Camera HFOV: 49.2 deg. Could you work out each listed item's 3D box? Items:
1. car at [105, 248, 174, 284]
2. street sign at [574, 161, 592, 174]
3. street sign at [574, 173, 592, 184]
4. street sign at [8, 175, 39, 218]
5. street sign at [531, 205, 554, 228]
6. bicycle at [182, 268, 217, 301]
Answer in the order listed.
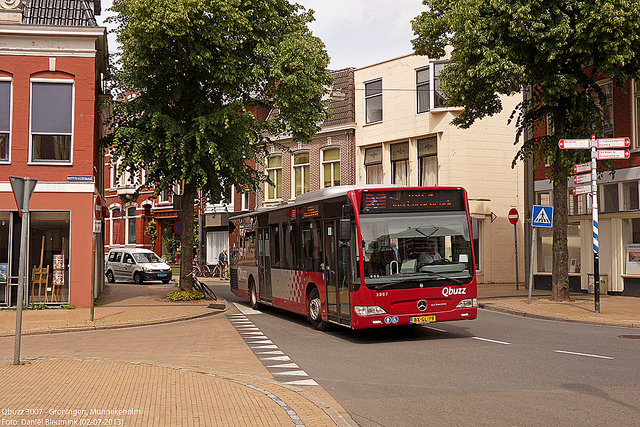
[{"bbox_3d":[-10.842,3.101,41.510,4.612,2.124,1.648,-6,-7,42],"label":"car"},{"bbox_3d":[8.895,-1.561,23.626,0.492,0.331,0.853,-2,-6,12],"label":"street sign"},{"bbox_3d":[8.890,-1.191,23.501,0.230,0.333,0.758,1,-6,-18],"label":"street sign"},{"bbox_3d":[-7.406,-0.412,17.350,0.543,0.998,1.230,1,-6,-22],"label":"street sign"},{"bbox_3d":[8.099,0.084,25.351,0.841,0.910,0.086,5,-3,-8],"label":"street sign"},{"bbox_3d":[-4.976,2.983,29.335,1.182,1.273,2.207,0,-6,-10],"label":"bicycle"}]
